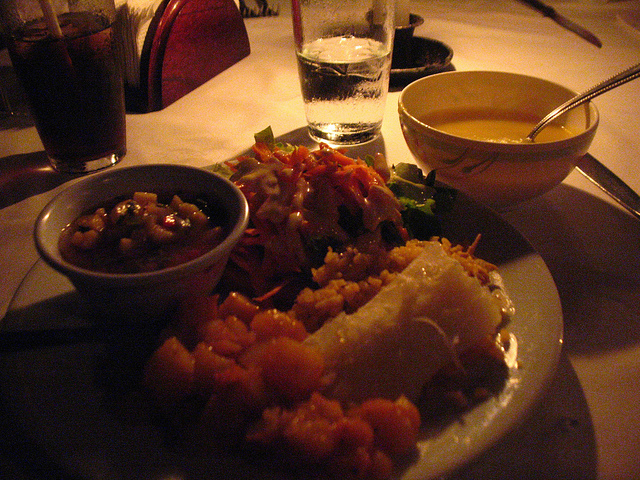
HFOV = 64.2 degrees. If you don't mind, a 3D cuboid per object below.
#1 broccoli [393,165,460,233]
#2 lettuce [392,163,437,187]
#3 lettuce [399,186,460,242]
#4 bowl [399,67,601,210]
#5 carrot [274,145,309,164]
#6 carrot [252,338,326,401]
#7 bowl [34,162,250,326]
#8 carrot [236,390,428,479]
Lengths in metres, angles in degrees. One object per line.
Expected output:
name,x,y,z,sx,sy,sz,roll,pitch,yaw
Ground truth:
broccoli,0.230,-0.087,1.178,0.157,0.032,0.103,38,49,22
lettuce,0.223,-0.157,1.225,0.085,0.028,0.057,-4,41,13
lettuce,0.254,-0.056,1.210,0.094,0.126,0.117,2,15,-1
bowl,0.430,-0.245,1.323,0.459,0.234,0.448,-1,36,1
carrot,-0.067,-0.188,1.152,0.055,0.025,0.052,7,26,43
carrot,-0.061,0.195,0.835,0.105,0.101,0.053,-5,27,11
bowl,-0.334,0.007,1.018,0.358,0.175,0.358,4,40,-4
carrot,0.014,0.292,0.818,0.170,0.062,0.162,-16,4,-6
